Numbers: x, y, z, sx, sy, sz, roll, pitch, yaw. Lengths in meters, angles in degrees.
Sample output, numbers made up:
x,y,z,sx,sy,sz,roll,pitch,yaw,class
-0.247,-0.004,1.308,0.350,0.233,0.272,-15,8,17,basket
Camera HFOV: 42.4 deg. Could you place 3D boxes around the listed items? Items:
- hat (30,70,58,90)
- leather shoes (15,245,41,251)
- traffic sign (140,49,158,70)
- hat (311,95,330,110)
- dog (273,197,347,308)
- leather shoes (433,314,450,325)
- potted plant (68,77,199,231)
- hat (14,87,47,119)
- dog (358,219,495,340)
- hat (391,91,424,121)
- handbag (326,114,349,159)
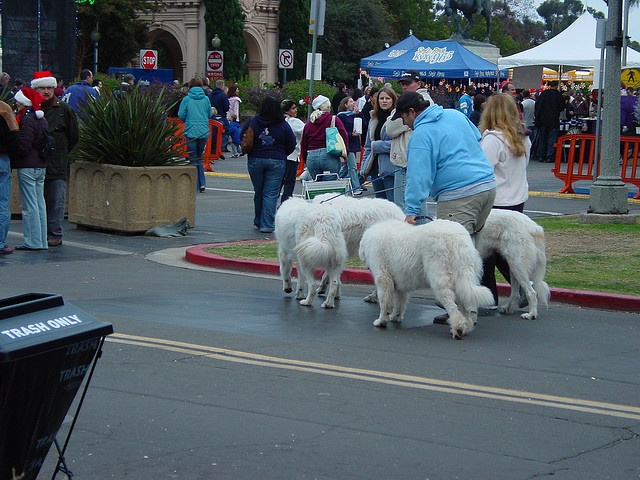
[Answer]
x,y,z,sx,sy,sz,roll,pitch,yaw,class
-4.267,-2.452,12.712,0.330,0.255,0.359,-3,15,-21,hat
-4.448,0.115,12.568,0.399,0.154,0.130,-2,1,8,leather shoes
-7.954,-8.348,38.125,0.711,0.870,1.756,-2,10,-15,traffic sign
0.016,-2.479,14.709,0.313,0.251,0.243,-29,16,-10,hat
-0.159,0.142,9.636,0.585,1.227,0.926,-6,13,-36,dog
1.318,0.857,8.945,0.156,0.062,0.095,3,2,10,leather shoes
-3.335,-1.377,14.839,2.088,2.533,2.170,-1,6,-22,potted plant
-4.246,-2.036,12.203,0.485,0.356,0.356,23,21,15,hat
1.052,0.381,8.565,0.614,1.181,1.949,6,-2,-34,dog
0.937,-1.409,8.676,0.311,0.155,0.215,-11,20,33,hat
0.283,-1.726,14.636,0.295,0.548,0.434,11,14,43,handbag
